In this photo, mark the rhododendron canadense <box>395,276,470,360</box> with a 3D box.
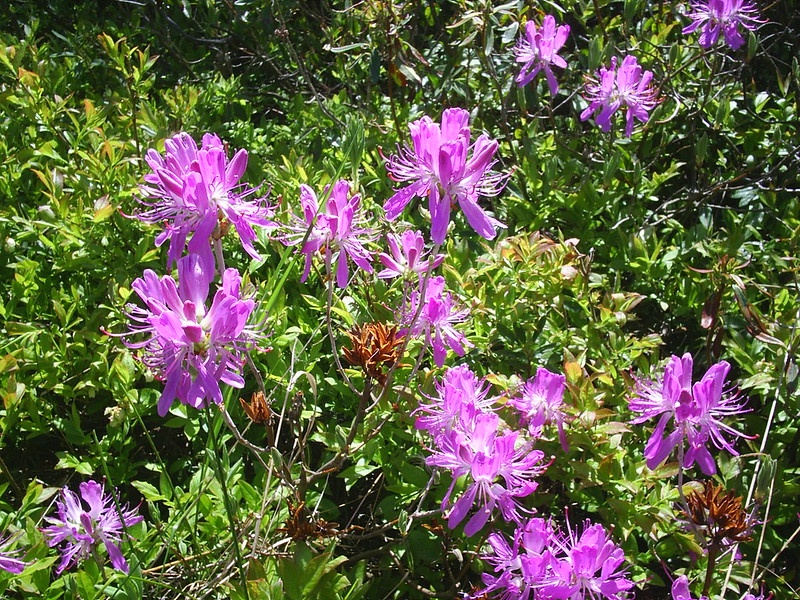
[{"bbox_3d":[0.126,0.070,2.644,0.249,0.279,0.253,18,7,-8],"label":"rhododendron canadense"}]

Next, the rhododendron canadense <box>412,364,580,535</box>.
[{"bbox_3d":[0.316,0.543,2.628,0.480,0.637,0.372,-18,27,-30],"label":"rhododendron canadense"}]

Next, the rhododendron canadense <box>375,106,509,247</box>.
[{"bbox_3d":[0.123,-0.376,2.378,0.348,0.322,0.282,-3,44,1],"label":"rhododendron canadense"}]

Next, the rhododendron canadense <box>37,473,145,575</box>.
[{"bbox_3d":[-1.111,0.800,2.746,0.218,0.255,0.219,10,33,-32],"label":"rhododendron canadense"}]

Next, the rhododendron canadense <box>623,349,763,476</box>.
[{"bbox_3d":[0.988,0.348,2.631,0.318,0.347,0.367,-4,4,-9],"label":"rhododendron canadense"}]

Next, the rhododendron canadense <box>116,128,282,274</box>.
[{"bbox_3d":[-0.596,-0.273,2.349,0.328,0.387,0.430,-10,76,-19],"label":"rhododendron canadense"}]

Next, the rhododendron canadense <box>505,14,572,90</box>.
[{"bbox_3d":[0.654,-1.165,3.585,0.240,0.355,0.367,4,46,7],"label":"rhododendron canadense"}]

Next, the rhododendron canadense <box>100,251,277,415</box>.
[{"bbox_3d":[-0.606,0.119,2.259,0.310,0.407,0.353,14,-2,-29],"label":"rhododendron canadense"}]
